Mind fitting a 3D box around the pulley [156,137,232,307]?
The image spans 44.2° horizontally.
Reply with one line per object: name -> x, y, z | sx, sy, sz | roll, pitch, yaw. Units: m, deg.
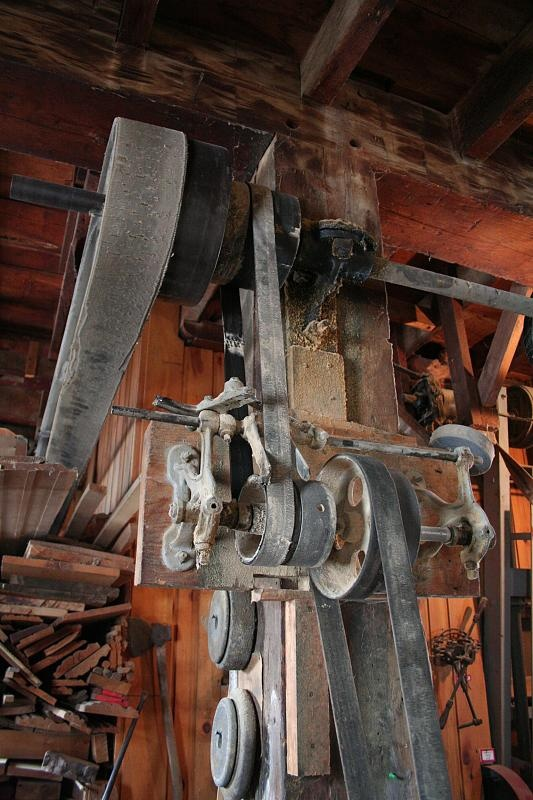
pulley -> -0.120, -0.297, 1.117 | 0.102, 0.241, 0.222 | 5, -9, -10

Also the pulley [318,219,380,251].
pulley -> 0.154, -0.301, 1.197 | 0.070, 0.023, 0.064 | 30, 21, 20

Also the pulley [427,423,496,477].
pulley -> 0.395, 0.115, 1.310 | 0.121, 0.039, 0.122 | -11, -45, 29

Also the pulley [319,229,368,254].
pulley -> 0.149, -0.290, 1.198 | 0.064, 0.023, 0.051 | 0, -10, 24

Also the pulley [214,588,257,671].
pulley -> -0.070, 0.471, 1.336 | 0.066, 0.173, 0.149 | 7, -10, -23
